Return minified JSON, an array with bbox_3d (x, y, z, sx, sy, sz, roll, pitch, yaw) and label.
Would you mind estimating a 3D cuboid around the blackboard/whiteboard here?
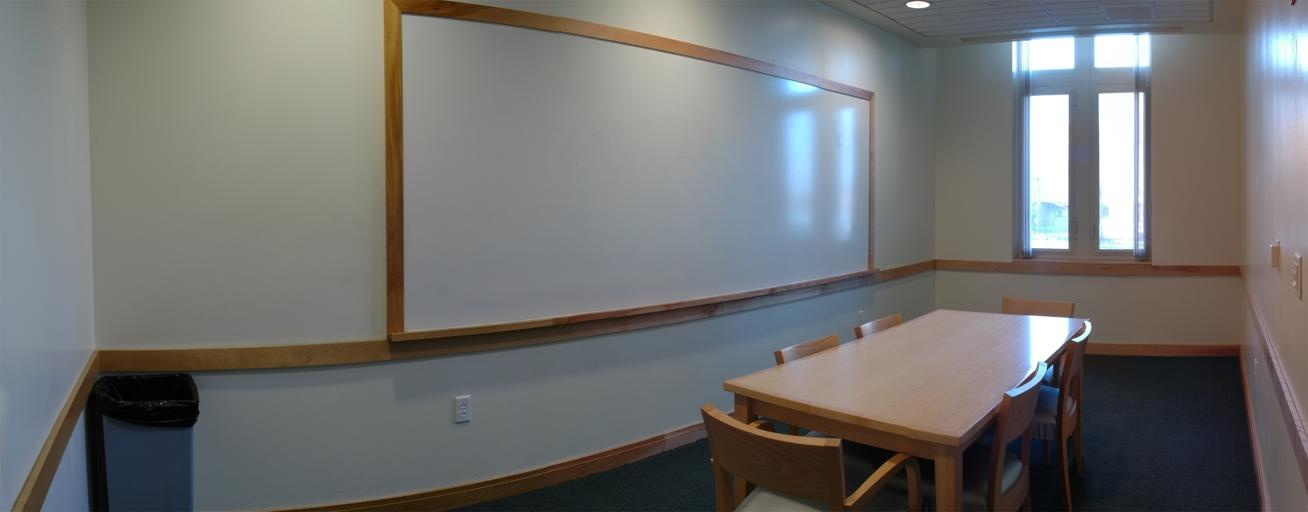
[{"bbox_3d":[-0.492,-1.038,8.487,6.352,2.309,0.150,-2,2,-26],"label":"blackboard/whiteboard"}]
